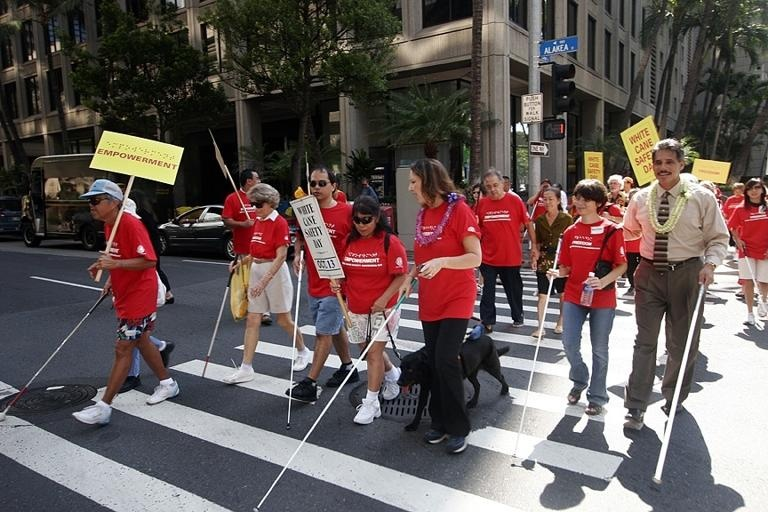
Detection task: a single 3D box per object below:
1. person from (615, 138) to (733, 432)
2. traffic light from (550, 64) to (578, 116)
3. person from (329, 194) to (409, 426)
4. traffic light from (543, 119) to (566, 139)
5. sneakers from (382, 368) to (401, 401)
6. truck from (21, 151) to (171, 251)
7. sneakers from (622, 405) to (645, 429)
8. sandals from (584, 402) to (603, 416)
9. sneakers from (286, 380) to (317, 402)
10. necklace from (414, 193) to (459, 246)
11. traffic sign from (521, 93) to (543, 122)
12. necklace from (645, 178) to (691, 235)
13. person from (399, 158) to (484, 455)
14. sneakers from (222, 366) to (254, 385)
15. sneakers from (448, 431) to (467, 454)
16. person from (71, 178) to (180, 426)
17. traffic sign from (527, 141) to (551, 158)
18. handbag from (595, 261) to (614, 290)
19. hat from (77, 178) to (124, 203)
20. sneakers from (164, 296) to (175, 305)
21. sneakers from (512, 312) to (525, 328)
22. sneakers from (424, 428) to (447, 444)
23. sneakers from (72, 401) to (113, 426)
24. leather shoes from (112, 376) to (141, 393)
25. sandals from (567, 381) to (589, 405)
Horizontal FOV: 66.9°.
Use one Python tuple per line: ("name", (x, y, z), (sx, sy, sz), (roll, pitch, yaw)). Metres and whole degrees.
("person", (3.368, 0.343, 6.920), (1.056, 3.429, 0.770), (4, 9, 21))
("traffic light", (4.334, -4.056, 13.983), (0.600, 1.227, 0.535), (7, 10, 36))
("person", (-0.143, 0.635, 7.228), (0.859, 2.762, 0.810), (1, 8, 0))
("traffic light", (4.219, -3.174, 14.406), (0.530, 0.493, 0.284), (3, 6, 35))
("sneakers", (0.108, 1.732, 7.798), (0.193, 0.229, 0.541), (3, 20, 15))
("truck", (-11.760, -2.204, 23.722), (5.969, 3.395, 3.104), (5, 10, 27))
("sneakers", (2.987, 1.933, 6.987), (0.235, 0.289, 0.244), (0, -19, 34))
("sandals", (2.614, 1.911, 7.255), (0.101, 0.133, 0.217), (10, -10, -9))
("sneakers", (-1.047, 1.731, 7.485), (0.390, 0.227, 0.205), (8, -6, -12))
("necklace", (0.612, -0.420, 6.571), (0.126, 0.612, 0.452), (20, 2, -31))
("traffic sign", (3.904, -3.938, 15.290), (0.524, 0.779, 0.492), (3, 9, 15))
("necklace", (3.347, -0.589, 6.894), (0.454, 0.634, 0.207), (4, -13, 41))
("person", (0.645, 0.554, 6.581), (0.827, 3.286, 0.674), (5, 9, 26))
("sneakers", (-1.992, 1.662, 8.147), (0.482, 0.231, 0.173), (-1, 2, -23))
("sneakers", (0.824, 2.131, 6.612), (0.123, 0.150, 0.323), (0, 14, 29))
("person", (-3.261, 0.530, 7.342), (1.202, 2.982, 0.796), (-5, 10, -33))
("traffic sign", (4.128, -2.906, 15.534), (0.504, 0.380, 0.550), (2, 8, 8))
("handbag", (2.694, 0.220, 7.163), (0.245, 0.347, 0.101), (15, -15, -15))
("hat", (-3.484, -0.859, 7.267), (0.416, 0.211, 0.287), (5, -6, -43))
("sneakers", (-4.485, 0.918, 12.187), (0.131, 0.192, 0.189), (17, 1, 25))
("sneakers", (2.391, 1.128, 10.398), (0.135, 0.299, 0.226), (-8, 30, 34))
("sneakers", (0.594, 2.088, 6.731), (0.295, 0.147, 0.115), (6, -10, -28))
("sneakers", (-3.468, 1.907, 7.093), (0.474, 0.280, 0.229), (22, -8, -36))
("leather shoes", (-3.492, 1.762, 8.034), (0.160, 0.196, 0.452), (2, -2, 16))
("sandals", (2.523, 1.755, 7.575), (0.377, 0.169, 0.126), (-44, 8, -27))
